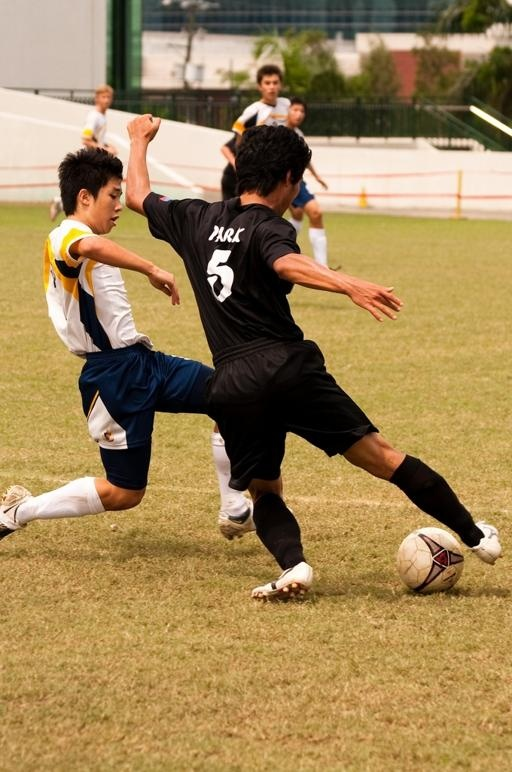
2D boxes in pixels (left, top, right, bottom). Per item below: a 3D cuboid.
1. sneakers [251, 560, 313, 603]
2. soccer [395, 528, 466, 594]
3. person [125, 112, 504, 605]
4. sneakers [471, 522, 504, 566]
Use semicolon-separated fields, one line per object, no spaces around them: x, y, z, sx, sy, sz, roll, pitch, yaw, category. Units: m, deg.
0.092;0.594;2.645;0.086;0.095;0.221;35;-43;-30;sneakers
0.576;0.554;2.790;0.230;0.197;0.214;-8;7;-9;soccer
0.063;-0.142;2.639;1.159;1.387;0.626;8;15;37;person
0.716;0.489;2.733;0.069;0.151;0.085;36;-54;-28;sneakers
